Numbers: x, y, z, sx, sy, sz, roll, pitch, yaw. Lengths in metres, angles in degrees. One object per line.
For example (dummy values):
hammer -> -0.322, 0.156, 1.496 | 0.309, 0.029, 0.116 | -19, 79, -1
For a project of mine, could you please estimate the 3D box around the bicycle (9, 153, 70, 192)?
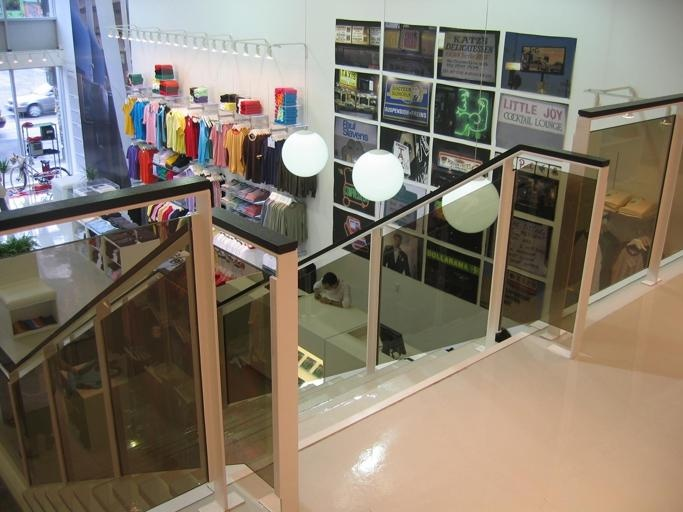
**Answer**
bicycle -> -6.592, -1.900, 11.547 | 1.228, 0.788, 0.602 | -12, 21, -39

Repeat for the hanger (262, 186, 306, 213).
hanger -> -0.906, -0.889, 8.237 | 0.448, 0.146, 0.336 | 24, 32, 38
